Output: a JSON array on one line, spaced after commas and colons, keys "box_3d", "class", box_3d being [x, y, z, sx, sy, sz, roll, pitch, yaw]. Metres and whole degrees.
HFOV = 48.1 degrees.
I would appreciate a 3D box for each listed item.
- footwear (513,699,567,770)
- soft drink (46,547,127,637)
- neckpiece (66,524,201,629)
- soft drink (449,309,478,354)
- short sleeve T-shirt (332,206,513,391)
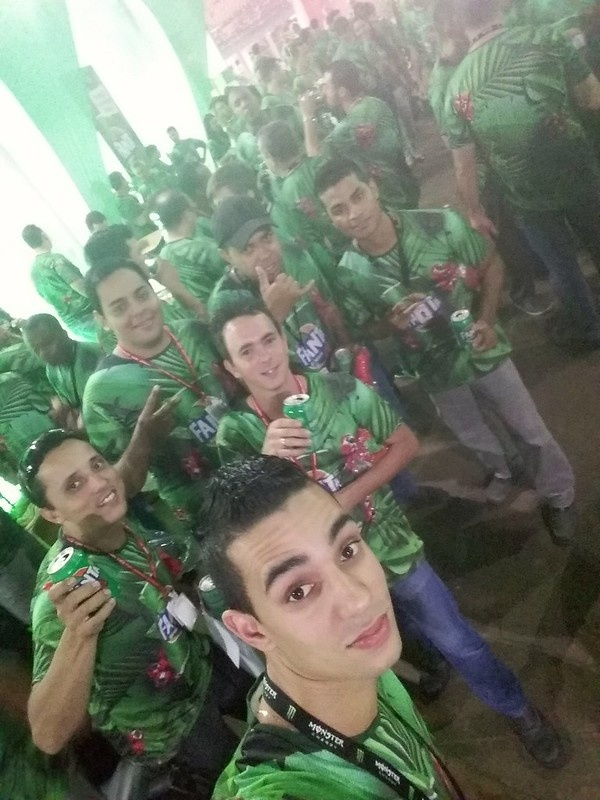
[{"box_3d": [0.703, 1.026, 2.064, 0.154, 0.170, 0.113, -26, 22, 32], "class": "footwear"}, {"box_3d": [-0.639, 0.573, 1.983, 0.157, 0.252, 0.142, -7, 62, -5], "class": "soft drink"}, {"box_3d": [-0.451, 0.581, 2.136, 0.083, 0.571, 0.177, -21, 35, 48], "class": "neckpiece"}, {"box_3d": [0.585, -0.249, 2.429, 0.091, 0.146, 0.086, -34, 30, -5], "class": "soft drink"}, {"box_3d": [0.413, -0.385, 2.386, 0.513, 0.539, 0.304, -27, 13, -1], "class": "short sleeve T-shirt"}]
